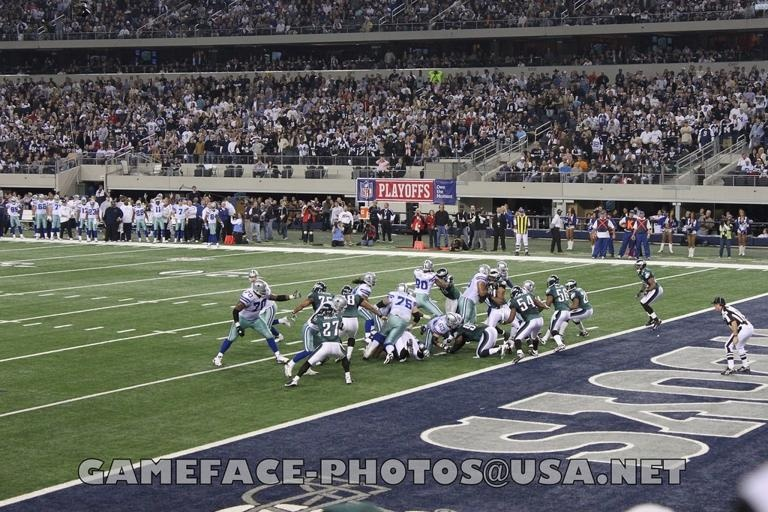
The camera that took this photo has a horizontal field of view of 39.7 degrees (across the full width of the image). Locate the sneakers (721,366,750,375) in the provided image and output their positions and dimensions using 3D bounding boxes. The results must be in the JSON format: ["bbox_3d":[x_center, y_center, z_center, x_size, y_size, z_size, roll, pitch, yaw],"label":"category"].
[{"bbox_3d":[7.486,2.458,22.455,0.691,0.264,0.216,0,-9,2],"label":"sneakers"}]

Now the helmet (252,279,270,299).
[{"bbox_3d":[-2.561,0.707,22.324,0.378,0.424,0.437,-1,12,-9],"label":"helmet"}]

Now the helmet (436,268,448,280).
[{"bbox_3d":[1.343,0.393,24.406,0.236,0.202,0.387,2,12,5],"label":"helmet"}]

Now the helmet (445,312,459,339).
[{"bbox_3d":[1.573,1.537,23.829,0.322,0.571,0.456,2,12,4],"label":"helmet"}]

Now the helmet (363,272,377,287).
[{"bbox_3d":[-0.322,0.555,23.996,0.267,0.400,0.601,0,12,-3],"label":"helmet"}]

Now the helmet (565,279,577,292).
[{"bbox_3d":[4.404,0.724,24.830,0.283,0.276,0.337,0,19,1],"label":"helmet"}]

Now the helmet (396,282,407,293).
[{"bbox_3d":[0.405,0.729,23.406,0.157,0.188,0.205,10,33,10],"label":"helmet"}]

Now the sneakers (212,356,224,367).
[{"bbox_3d":[-3.536,2.275,22.829,0.169,0.132,0.263,4,12,-2],"label":"sneakers"}]

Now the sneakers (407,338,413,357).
[{"bbox_3d":[0.591,2.017,23.392,0.118,0.326,0.150,1,12,1],"label":"sneakers"}]

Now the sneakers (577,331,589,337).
[{"bbox_3d":[4.778,1.865,25.349,0.253,0.111,0.230,2,12,6],"label":"sneakers"}]

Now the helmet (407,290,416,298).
[{"bbox_3d":[0.645,0.876,24.081,0.210,0.190,0.163,10,6,-38],"label":"helmet"}]

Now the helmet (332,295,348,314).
[{"bbox_3d":[-0.856,1.005,21.609,0.296,0.315,0.336,4,14,0],"label":"helmet"}]
